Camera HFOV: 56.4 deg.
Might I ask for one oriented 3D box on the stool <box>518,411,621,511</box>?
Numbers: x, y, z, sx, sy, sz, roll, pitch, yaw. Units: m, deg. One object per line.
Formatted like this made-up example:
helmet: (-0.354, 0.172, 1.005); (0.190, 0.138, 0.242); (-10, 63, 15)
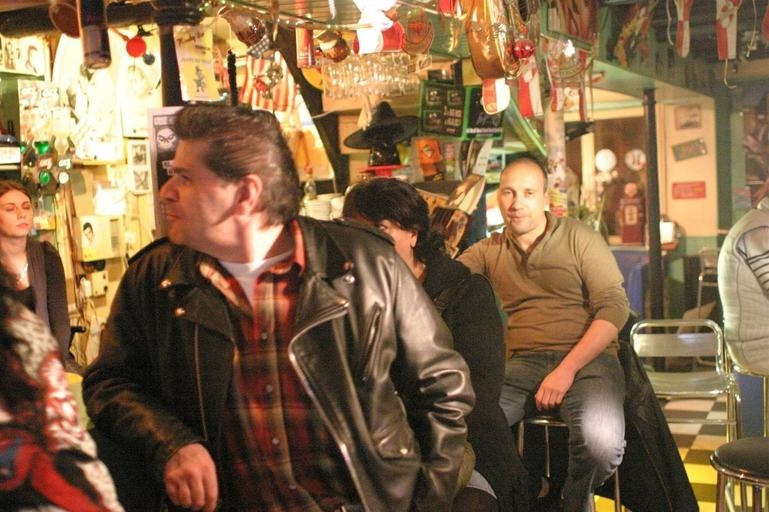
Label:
stool: (1.006, 1.148, 4.215); (0.614, 0.817, 0.615); (-2, -12, 6)

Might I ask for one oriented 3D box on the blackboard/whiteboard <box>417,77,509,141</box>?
blackboard/whiteboard: (0.554, -1.042, 5.207); (0.693, 0.496, 0.399); (4, 7, 14)

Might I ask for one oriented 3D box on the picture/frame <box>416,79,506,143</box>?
picture/frame: (0.552, -1.004, 5.229); (0.476, 0.353, 0.490); (3, 4, 3)

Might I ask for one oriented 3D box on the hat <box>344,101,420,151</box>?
hat: (-0.022, -0.869, 5.113); (0.340, 0.185, 0.476); (2, -25, -41)
